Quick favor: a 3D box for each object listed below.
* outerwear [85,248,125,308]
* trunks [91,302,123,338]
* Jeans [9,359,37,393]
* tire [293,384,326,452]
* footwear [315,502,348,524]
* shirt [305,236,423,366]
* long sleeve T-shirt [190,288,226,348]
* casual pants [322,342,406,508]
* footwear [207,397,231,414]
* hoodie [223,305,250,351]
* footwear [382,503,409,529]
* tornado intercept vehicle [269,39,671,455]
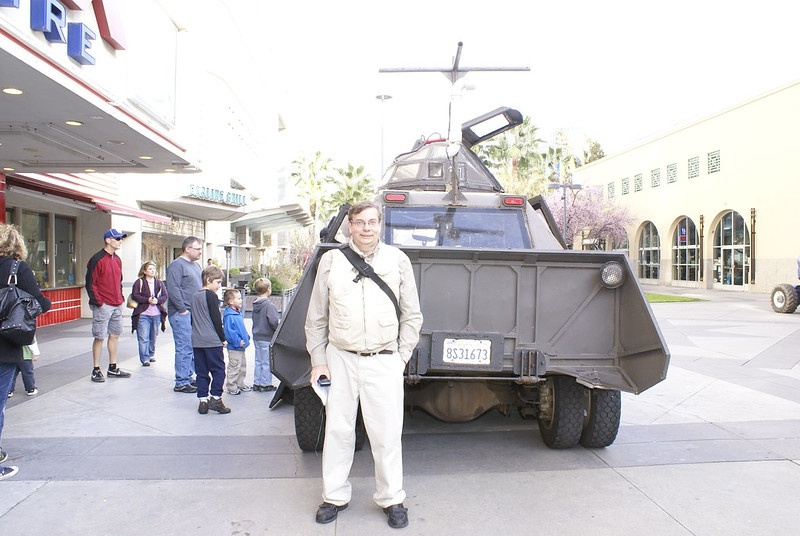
[{"bbox_3d":[-4.906,0.162,10.119,0.520,0.916,0.584,-5,12,-28],"label":"outerwear"},{"bbox_3d":[-4.813,0.825,10.020,0.345,0.638,0.547,-4,-5,16],"label":"trunks"},{"bbox_3d":[-5.733,1.569,9.207,0.388,0.619,0.194,1,18,-24],"label":"Jeans"},{"bbox_3d":[-1.033,1.699,7.088,0.346,0.978,0.967,1,2,-3],"label":"tire"},{"bbox_3d":[-0.693,2.462,6.208,0.134,0.154,0.366,-4,-12,23],"label":"footwear"},{"bbox_3d":[-0.378,0.373,6.226,1.386,1.511,0.737,1,0,-6],"label":"shirt"},{"bbox_3d":[-2.742,0.704,8.688,0.487,0.802,0.327,1,10,0],"label":"long sleeve T-shirt"},{"bbox_3d":[-0.409,1.604,6.270,0.769,1.591,0.376,3,-8,-9],"label":"casual pants"},{"bbox_3d":[-2.520,1.934,8.736,0.398,0.287,0.148,9,5,-27],"label":"footwear"},{"bbox_3d":[-2.518,0.933,9.465,0.345,0.639,0.507,-1,3,9],"label":"hoodie"},{"bbox_3d":[-0.031,2.451,6.150,0.253,0.177,0.235,0,10,-2],"label":"footwear"},{"bbox_3d":[0.672,-0.238,9.937,3.787,4.124,6.659,1,5,-1],"label":"tornado intercept vehicle"}]
